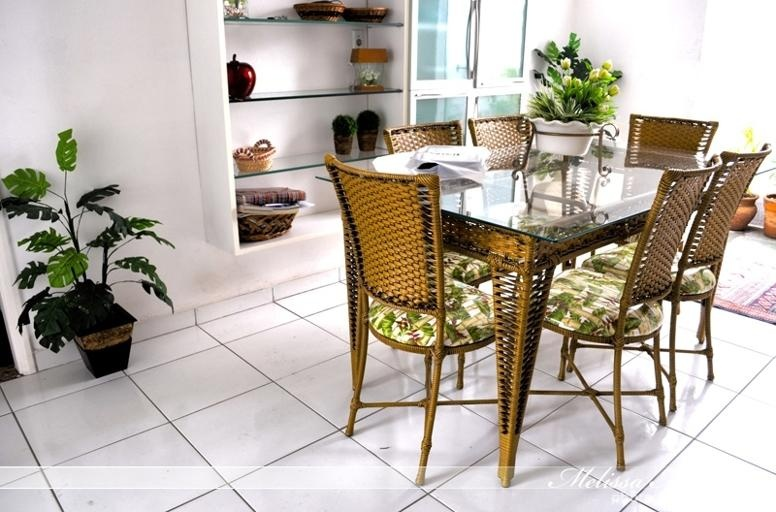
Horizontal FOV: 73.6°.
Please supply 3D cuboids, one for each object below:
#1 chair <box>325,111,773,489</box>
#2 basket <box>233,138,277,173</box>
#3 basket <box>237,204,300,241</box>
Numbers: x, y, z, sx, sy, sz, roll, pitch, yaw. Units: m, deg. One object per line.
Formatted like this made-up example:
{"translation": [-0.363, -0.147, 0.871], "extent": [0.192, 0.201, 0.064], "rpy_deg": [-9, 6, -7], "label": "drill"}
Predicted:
{"translation": [0.823, 0.224, 2.705], "extent": [0.790, 1.223, 1.470], "rpy_deg": [13, 28, 32], "label": "chair"}
{"translation": [-0.809, -0.632, 3.289], "extent": [0.273, 0.117, 0.239], "rpy_deg": [-17, 28, -35], "label": "basket"}
{"translation": [-0.764, -0.203, 3.280], "extent": [0.295, 0.100, 0.251], "rpy_deg": [-11, 22, -29], "label": "basket"}
